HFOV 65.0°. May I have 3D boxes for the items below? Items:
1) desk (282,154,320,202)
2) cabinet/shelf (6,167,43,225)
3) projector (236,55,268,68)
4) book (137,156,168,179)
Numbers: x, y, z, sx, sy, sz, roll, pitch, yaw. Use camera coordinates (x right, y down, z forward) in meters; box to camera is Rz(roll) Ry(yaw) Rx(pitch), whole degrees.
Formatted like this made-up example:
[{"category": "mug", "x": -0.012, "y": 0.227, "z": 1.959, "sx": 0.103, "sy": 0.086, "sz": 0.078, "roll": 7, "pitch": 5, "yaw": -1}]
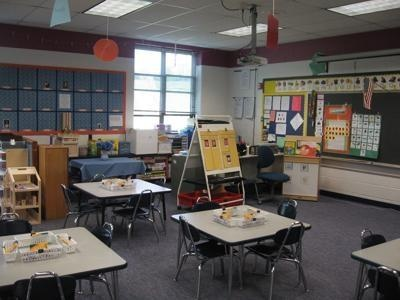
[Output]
[{"category": "desk", "x": 2.645, "y": 0.660, "z": 8.008, "sx": 0.939, "sy": 1.195, "sz": 0.726, "roll": 2, "pitch": 7, "yaw": 24}, {"category": "cabinet/shelf", "x": -3.339, "y": 0.840, "z": 5.792, "sx": 0.632, "sy": 1.059, "sz": 0.647, "roll": -7, "pitch": 8, "yaw": -33}, {"category": "projector", "x": 0.984, "y": -1.733, "z": 5.987, "sx": 0.407, "sy": 0.190, "sz": 0.508, "roll": -5, "pitch": 7, "yaw": -23}, {"category": "book", "x": -1.381, "y": 0.460, "z": 8.621, "sx": 0.626, "sy": 0.606, "sz": 0.192, "roll": -1, "pitch": 3, "yaw": -37}]
